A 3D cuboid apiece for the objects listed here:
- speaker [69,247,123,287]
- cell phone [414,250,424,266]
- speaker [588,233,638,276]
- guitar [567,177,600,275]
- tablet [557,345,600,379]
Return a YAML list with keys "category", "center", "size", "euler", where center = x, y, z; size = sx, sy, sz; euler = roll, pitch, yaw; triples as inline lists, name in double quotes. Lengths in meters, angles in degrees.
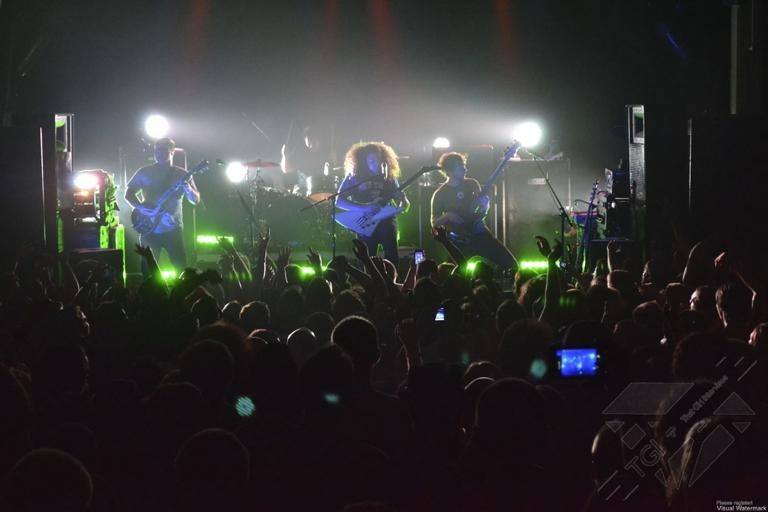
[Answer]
- category: "speaker"
  center: [-3.191, 0.124, 7.428]
  size: [0.407, 0.426, 0.420]
  euler: [-3, 0, 1]
- category: "cell phone"
  center: [0.422, 0.023, 8.120]
  size: [0.145, 0.258, 0.025]
  euler: [8, -20, -26]
- category: "speaker"
  center: [2.721, -0.005, 7.974]
  size: [0.267, 0.277, 0.493]
  euler: [1, -2, -33]
- category: "guitar"
  center: [2.943, -0.430, 9.943]
  size: [0.240, 1.770, 0.708]
  euler: [8, 35, 20]
- category: "tablet"
  center: [1.348, 0.739, 4.672]
  size: [0.324, 0.229, 0.181]
  euler: [1, -5, -2]
